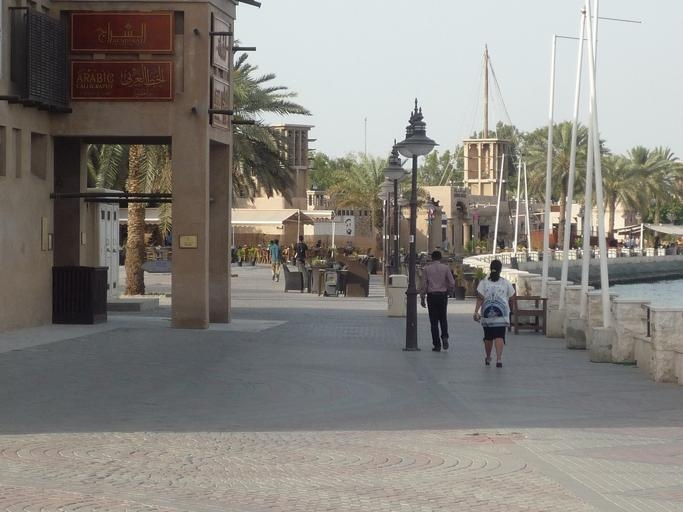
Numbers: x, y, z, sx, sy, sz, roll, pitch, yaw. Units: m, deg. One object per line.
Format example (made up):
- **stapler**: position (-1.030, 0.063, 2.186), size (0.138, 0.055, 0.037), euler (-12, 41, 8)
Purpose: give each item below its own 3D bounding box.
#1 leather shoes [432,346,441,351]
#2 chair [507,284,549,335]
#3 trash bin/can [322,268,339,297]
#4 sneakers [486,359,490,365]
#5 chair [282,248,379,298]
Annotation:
- **leather shoes**: position (1.877, 1.906, 23.488), size (0.134, 0.146, 0.077), euler (-1, -7, -2)
- **chair**: position (4.412, 1.334, 28.048), size (0.983, 1.337, 1.126), euler (0, 5, 4)
- **trash bin/can**: position (-0.375, 0.987, 40.441), size (0.568, 0.896, 0.664), euler (0, 2, 0)
- **sneakers**: position (2.643, 1.978, 21.610), size (0.070, 0.135, 0.086), euler (0, 0, -2)
- **chair**: position (-0.419, 0.767, 41.706), size (2.409, 1.279, 4.265), euler (-1, 2, -18)
